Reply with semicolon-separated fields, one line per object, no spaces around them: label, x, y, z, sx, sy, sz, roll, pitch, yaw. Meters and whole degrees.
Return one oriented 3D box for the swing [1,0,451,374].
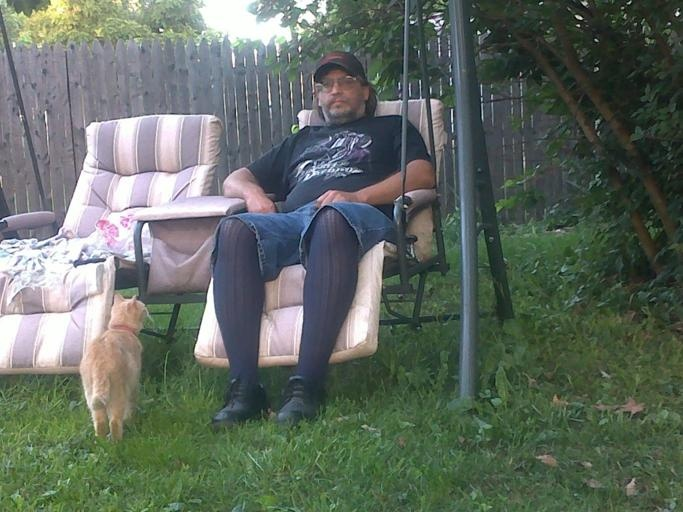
swing;-0.748;-0.492;4.416;2.747;1.739;1.992;3;5;14

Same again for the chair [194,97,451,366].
chair;-0.016;-0.254;4.053;1.090;1.244;2.020;3;11;14

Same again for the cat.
cat;-1.079;0.496;3.253;0.183;0.435;0.818;7;30;-13

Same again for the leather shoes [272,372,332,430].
leather shoes;-0.186;0.662;3.155;0.230;0.202;0.183;-1;2;-2

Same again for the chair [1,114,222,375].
chair;-1.552;-0.201;4.187;1.119;1.350;1.621;4;10;20

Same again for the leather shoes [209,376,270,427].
leather shoes;-0.470;0.685;3.172;0.133;0.132;0.285;0;-2;22
